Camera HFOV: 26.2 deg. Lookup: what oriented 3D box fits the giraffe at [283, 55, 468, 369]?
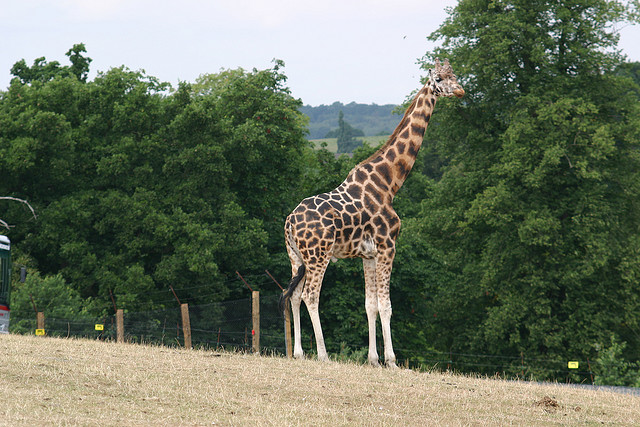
[{"bbox_3d":[2.042,0.407,60.678,6.909,12.254,3.115,-3,14,-26],"label":"giraffe"}]
